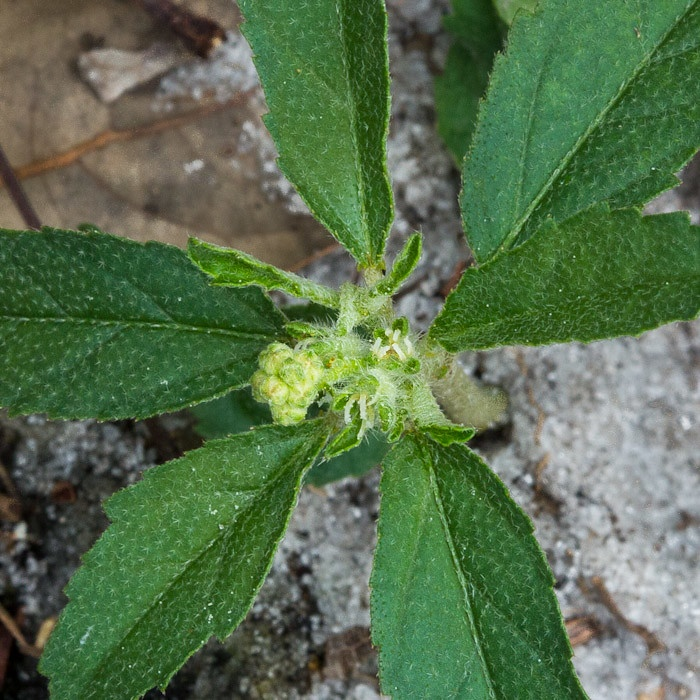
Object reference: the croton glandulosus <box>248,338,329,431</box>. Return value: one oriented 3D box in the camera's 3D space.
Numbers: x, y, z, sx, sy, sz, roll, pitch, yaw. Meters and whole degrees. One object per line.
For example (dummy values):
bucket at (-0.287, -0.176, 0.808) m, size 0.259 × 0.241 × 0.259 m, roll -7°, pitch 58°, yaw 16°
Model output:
croton glandulosus at (-0.132, 0.065, 1.688) m, size 0.134 × 0.089 × 0.169 m, roll 15°, pitch 83°, yaw 4°
